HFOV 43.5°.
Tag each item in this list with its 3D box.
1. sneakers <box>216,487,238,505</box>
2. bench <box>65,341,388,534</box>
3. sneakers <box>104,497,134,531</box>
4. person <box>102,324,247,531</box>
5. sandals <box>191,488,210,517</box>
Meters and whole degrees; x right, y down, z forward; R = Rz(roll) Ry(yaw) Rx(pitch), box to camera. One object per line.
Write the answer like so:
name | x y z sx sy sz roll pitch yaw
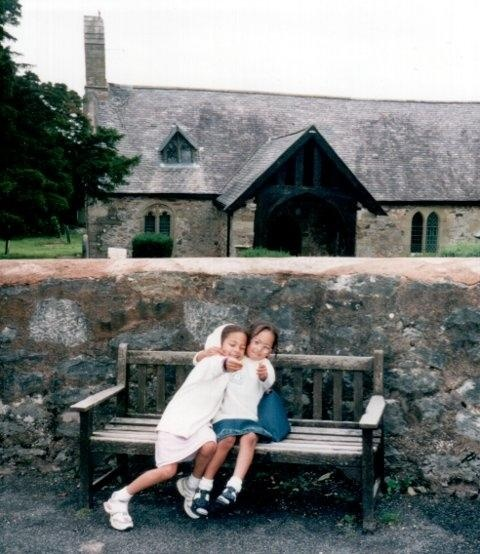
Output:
sneakers | -0.058 0.995 2.751 0.079 0.044 0.124 11 9 16
bench | -0.056 0.806 3.139 1.556 0.691 0.570 -1 8 14
sneakers | -0.582 1.114 2.881 0.130 0.150 0.205 -2 7 -13
person | -0.333 0.802 3.066 0.886 0.930 0.653 -1 -28 19
sandals | -0.177 1.040 2.779 0.072 0.082 0.199 4 1 -3
